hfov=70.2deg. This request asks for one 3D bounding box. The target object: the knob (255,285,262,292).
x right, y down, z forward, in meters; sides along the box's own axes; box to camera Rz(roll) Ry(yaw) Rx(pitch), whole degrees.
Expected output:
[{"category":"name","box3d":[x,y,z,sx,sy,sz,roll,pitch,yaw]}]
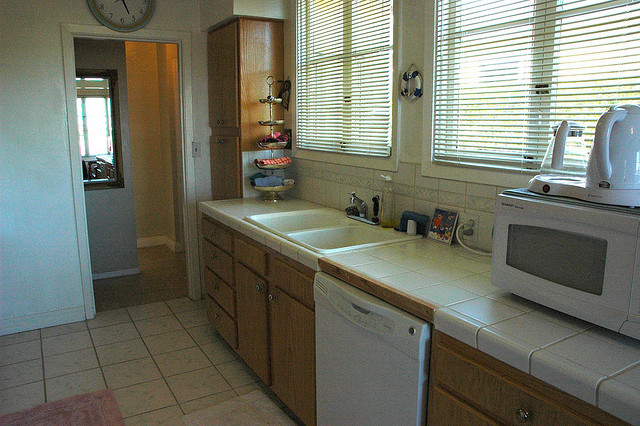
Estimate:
[{"category":"knob","box3d":[-0.406,0.503,3.022,0.040,0.040,0.013,31,25,28]}]

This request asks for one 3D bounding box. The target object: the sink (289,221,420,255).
[{"category":"sink","box3d":[0.225,0.190,2.917,0.632,0.180,0.512,-9,16,-30]}]

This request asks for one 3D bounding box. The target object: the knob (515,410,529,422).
[{"category":"knob","box3d":[0.775,0.779,1.738,0.034,0.046,0.018,6,5,42]}]

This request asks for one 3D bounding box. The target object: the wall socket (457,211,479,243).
[{"category":"wall socket","box3d":[0.859,0.086,2.611,0.166,0.225,0.025,6,8,45]}]

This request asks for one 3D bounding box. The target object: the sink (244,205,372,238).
[{"category":"sink","box3d":[-0.114,0.055,3.354,0.447,0.172,0.364,-6,11,-36]}]

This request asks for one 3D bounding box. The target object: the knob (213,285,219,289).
[{"category":"knob","box3d":[-0.838,0.605,3.689,0.045,0.011,0.032,0,14,-1]}]

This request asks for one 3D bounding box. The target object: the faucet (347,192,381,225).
[{"category":"faucet","box3d":[0.322,-0.034,3.212,0.112,0.201,0.377,-7,10,-24]}]

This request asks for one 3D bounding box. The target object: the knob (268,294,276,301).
[{"category":"knob","box3d":[-0.306,0.538,2.906,0.045,0.032,0.014,-4,5,44]}]
